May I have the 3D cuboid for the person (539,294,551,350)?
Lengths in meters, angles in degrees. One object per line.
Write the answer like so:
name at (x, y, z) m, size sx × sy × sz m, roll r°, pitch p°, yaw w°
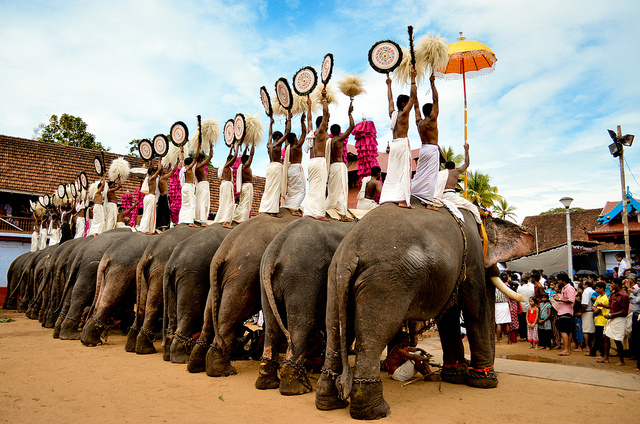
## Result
person at (5.831, 2.829, 12.163) m, size 0.278 × 1.371 × 0.320 m, roll 1°, pitch 1°, yaw 25°

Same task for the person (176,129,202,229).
person at (-3.176, -0.774, 11.448) m, size 0.505 × 2.299 × 1.414 m, roll 0°, pitch 0°, yaw -14°

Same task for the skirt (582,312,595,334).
skirt at (6.510, 2.679, 11.389) m, size 0.257 × 0.550 × 0.191 m, roll 1°, pitch 1°, yaw 32°

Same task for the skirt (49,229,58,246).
skirt at (-11.137, 1.066, 19.631) m, size 0.451 × 0.656 × 0.213 m, roll 2°, pitch -4°, yaw 26°

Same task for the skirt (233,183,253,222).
skirt at (-1.750, -0.224, 10.640) m, size 0.332 × 0.904 × 0.253 m, roll 13°, pitch -7°, yaw -25°

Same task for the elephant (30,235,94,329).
elephant at (-7.859, 2.110, 13.590) m, size 1.139 × 1.563 × 3.539 m, roll 0°, pitch 2°, yaw -4°

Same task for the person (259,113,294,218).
person at (-0.901, -0.988, 9.590) m, size 0.637 × 2.203 × 0.791 m, roll 0°, pitch 1°, yaw -5°

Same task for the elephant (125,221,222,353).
elephant at (-3.945, 1.564, 10.423) m, size 1.457 × 1.925 × 3.366 m, roll -1°, pitch 0°, yaw 34°

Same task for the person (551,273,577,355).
person at (6.016, 2.513, 11.596) m, size 0.506 × 1.953 × 0.989 m, roll 1°, pitch 1°, yaw 27°

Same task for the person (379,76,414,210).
person at (1.322, -1.224, 8.062) m, size 0.549 × 2.368 × 0.810 m, roll 1°, pitch 1°, yaw 11°

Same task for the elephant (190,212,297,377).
elephant at (-1.147, 1.983, 10.564) m, size 2.198 × 2.782 × 4.865 m, roll -1°, pitch -13°, yaw 22°

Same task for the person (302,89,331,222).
person at (-0.049, -1.117, 9.009) m, size 0.497 × 2.584 × 0.829 m, roll 1°, pitch 1°, yaw -1°

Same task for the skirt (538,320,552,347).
skirt at (5.854, 3.155, 12.221) m, size 0.327 × 0.717 × 0.224 m, roll 1°, pitch 1°, yaw 25°

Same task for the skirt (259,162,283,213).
skirt at (-0.992, -0.502, 9.516) m, size 0.458 × 1.036 × 0.445 m, roll 0°, pitch 1°, yaw -6°

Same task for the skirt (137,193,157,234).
skirt at (-4.412, 0.048, 11.994) m, size 0.392 × 0.999 × 0.350 m, roll 1°, pitch -6°, yaw -9°
